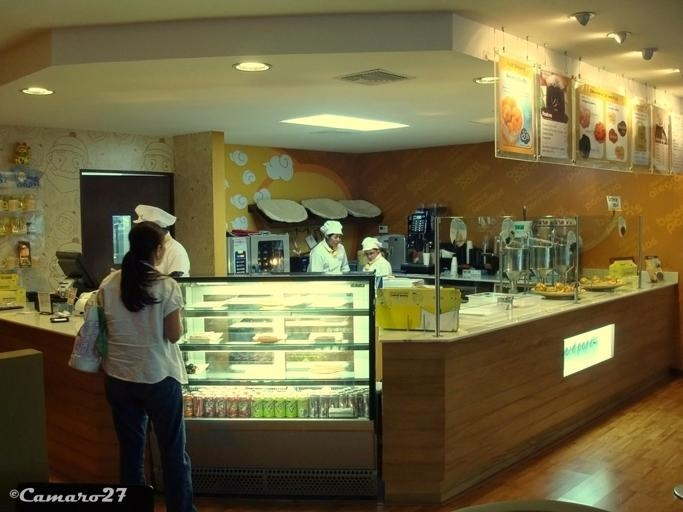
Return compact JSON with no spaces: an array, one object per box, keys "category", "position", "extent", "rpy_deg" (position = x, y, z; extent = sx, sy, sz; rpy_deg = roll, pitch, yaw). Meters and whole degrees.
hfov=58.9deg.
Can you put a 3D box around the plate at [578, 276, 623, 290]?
[{"category":"plate","position":[2.676,0.297,6.325],"extent":[0.534,0.144,0.308],"rpy_deg":[-2,0,-1]}]

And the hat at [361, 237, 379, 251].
[{"category":"hat","position":[0.350,-0.135,7.299],"extent":[0.180,0.153,0.329],"rpy_deg":[-2,0,6]}]

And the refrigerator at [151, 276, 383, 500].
[{"category":"refrigerator","position":[-0.511,0.956,4.264],"extent":[1.599,1.482,0.559],"rpy_deg":[-1,1,5]}]

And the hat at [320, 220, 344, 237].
[{"category":"hat","position":[-0.111,-0.322,7.081],"extent":[0.248,0.159,0.222],"rpy_deg":[-2,0,31]}]

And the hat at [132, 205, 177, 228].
[{"category":"hat","position":[-1.703,-0.362,5.500],"extent":[0.302,0.140,0.349],"rpy_deg":[11,-8,22]}]

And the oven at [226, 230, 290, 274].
[{"category":"oven","position":[-1.067,-0.028,7.836],"extent":[0.831,0.551,0.487],"rpy_deg":[-6,14,-26]}]

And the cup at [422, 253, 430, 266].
[{"category":"cup","position":[1.155,0.048,8.287],"extent":[0.088,0.173,0.097],"rpy_deg":[-2,0,0]}]

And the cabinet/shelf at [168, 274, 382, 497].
[{"category":"cabinet/shelf","position":[-0.460,0.947,4.309],"extent":[1.591,1.520,0.558],"rpy_deg":[-1,0,6]}]

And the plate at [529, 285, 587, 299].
[{"category":"plate","position":[2.053,0.356,5.906],"extent":[0.411,0.152,0.189],"rpy_deg":[-2,0,36]}]
